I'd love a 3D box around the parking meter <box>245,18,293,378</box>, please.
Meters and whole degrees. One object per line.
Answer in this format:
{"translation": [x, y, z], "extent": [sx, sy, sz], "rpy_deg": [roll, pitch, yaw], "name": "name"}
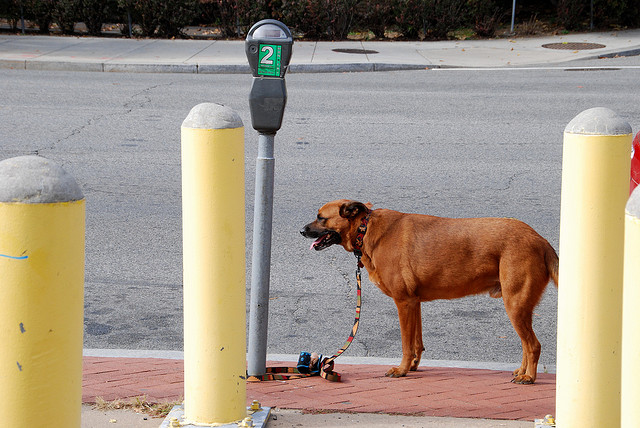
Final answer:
{"translation": [-0.598, -0.109, 17.002], "extent": [0.850, 4.536, 0.539], "rpy_deg": [2, -1, 19], "name": "parking meter"}
